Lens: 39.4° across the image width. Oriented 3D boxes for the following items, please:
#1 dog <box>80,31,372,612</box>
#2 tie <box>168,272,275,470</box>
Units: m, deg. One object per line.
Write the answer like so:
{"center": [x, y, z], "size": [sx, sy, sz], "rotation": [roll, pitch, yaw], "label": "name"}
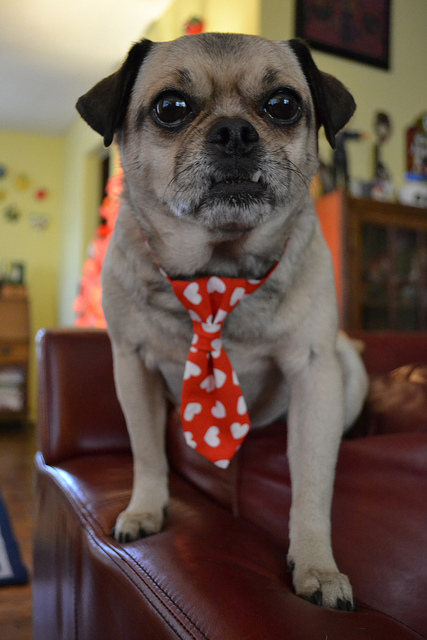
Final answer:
{"center": [-0.010, -0.067, 0.895], "size": [0.460, 0.781, 0.409], "rotation": [2, 4, 13], "label": "dog"}
{"center": [0.004, 0.072, 0.844], "size": [0.133, 0.265, 0.060], "rotation": [1, 4, 2], "label": "tie"}
